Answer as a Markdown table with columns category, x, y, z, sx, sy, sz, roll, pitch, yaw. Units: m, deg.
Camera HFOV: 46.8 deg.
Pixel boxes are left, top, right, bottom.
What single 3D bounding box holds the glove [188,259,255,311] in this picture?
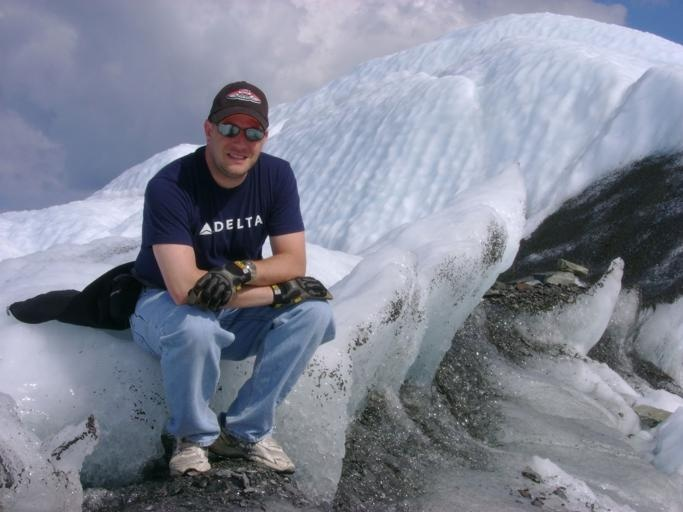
| category | x | y | z | sx | sy | sz | roll | pitch | yaw |
| --- | --- | --- | --- | --- | --- | --- | --- | --- | --- |
| glove | -0.902 | 0.184 | 5.995 | 0.283 | 0.186 | 0.473 | 27 | 58 | 14 |

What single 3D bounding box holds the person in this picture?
| category | x | y | z | sx | sy | sz | roll | pitch | yaw |
| --- | --- | --- | --- | --- | --- | --- | --- | --- | --- |
| person | -0.851 | 0.174 | 6.126 | 1.463 | 2.939 | 0.886 | 5 | 14 | -15 |

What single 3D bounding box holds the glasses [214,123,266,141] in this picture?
| category | x | y | z | sx | sy | sz | roll | pitch | yaw |
| --- | --- | --- | --- | --- | --- | --- | --- | --- | --- |
| glasses | -0.780 | -0.955 | 6.091 | 0.364 | 0.109 | 0.056 | 7 | 13 | -10 |
